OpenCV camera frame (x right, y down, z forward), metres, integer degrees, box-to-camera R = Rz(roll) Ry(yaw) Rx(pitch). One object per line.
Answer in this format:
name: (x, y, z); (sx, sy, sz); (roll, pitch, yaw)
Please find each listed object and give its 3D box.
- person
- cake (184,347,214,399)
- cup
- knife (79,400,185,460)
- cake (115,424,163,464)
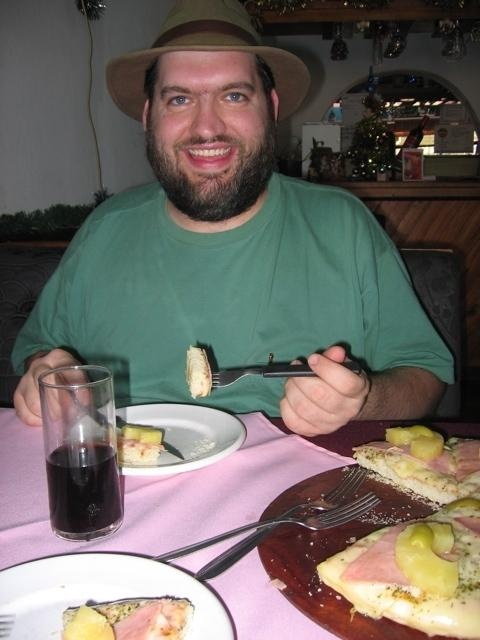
person: (-0.030, -0.348, 1.607); (1.262, 1.150, 0.734); (4, 14, 18)
cake: (-0.090, 0.119, 1.230); (0.058, 0.050, 0.169); (-40, 23, 9)
cup: (-0.217, 0.193, 0.778); (0.096, 0.225, 0.073); (-5, 14, -17)
knife: (-0.183, 0.209, 1.048); (0.077, 0.034, 0.219); (-10, 11, -27)
cake: (-0.184, 0.228, 1.042); (0.069, 0.021, 0.063); (5, 19, -3)
